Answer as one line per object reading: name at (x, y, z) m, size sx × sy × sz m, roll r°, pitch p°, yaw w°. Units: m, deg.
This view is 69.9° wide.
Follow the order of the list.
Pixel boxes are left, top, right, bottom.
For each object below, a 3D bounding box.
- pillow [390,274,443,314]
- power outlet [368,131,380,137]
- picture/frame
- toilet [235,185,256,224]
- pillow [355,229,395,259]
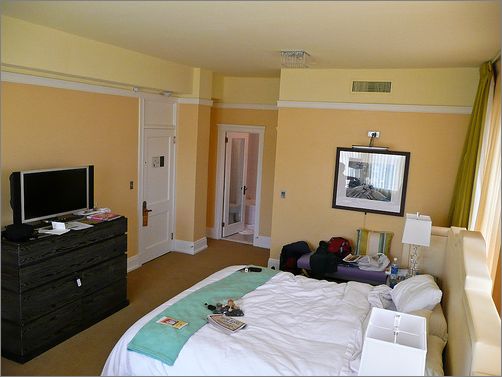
pillow at (1.789, 1.138, 3.860) m, size 0.343 × 0.266 × 0.704 m, roll -9°, pitch 1°, yaw 16°
power outlet at (2.061, -0.906, 5.992) m, size 0.210 × 0.117 × 0.066 m, roll 7°, pitch 13°, yaw 13°
picture/frame at (2.079, -0.139, 6.018) m, size 1.108 × 1.035 × 0.089 m, roll 5°, pitch 6°, yaw 17°
toilet at (-0.118, 0.420, 8.979) m, size 0.421 × 1.230 × 0.794 m, roll 7°, pitch 13°, yaw 15°
pillow at (2.088, 0.916, 6.087) m, size 0.570 × 0.584 × 0.219 m, roll 5°, pitch 37°, yaw 18°
